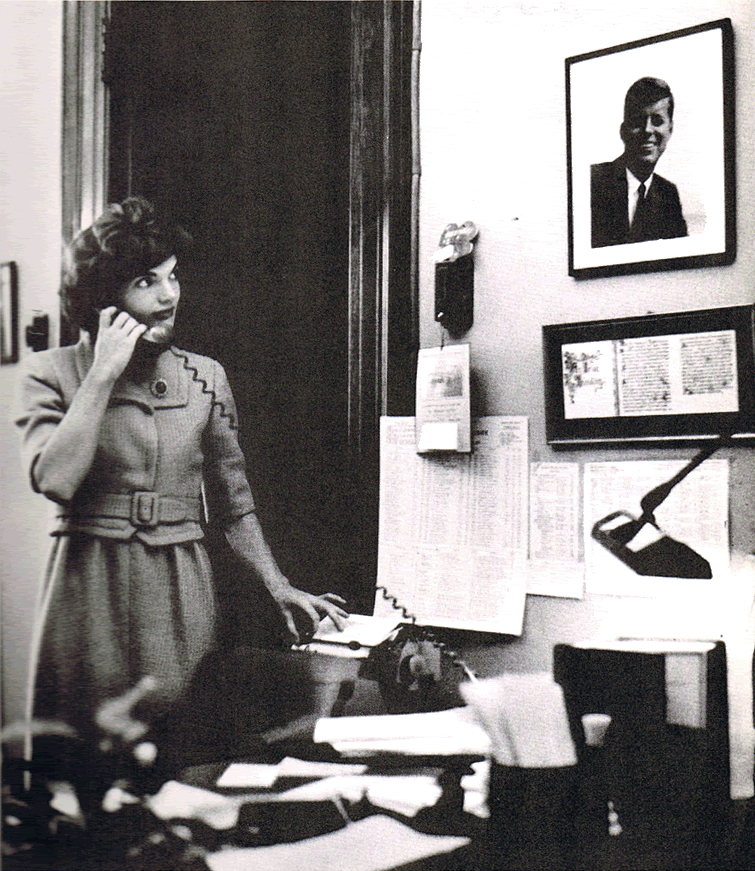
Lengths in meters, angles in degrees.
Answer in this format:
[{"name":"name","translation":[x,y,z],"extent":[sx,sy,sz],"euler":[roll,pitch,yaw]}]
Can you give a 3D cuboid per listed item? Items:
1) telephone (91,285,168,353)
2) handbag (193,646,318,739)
[{"name":"telephone","translation":[-0.354,-0.165,1.780],"extent":[0.077,0.114,0.057],"euler":[37,-21,-27]},{"name":"handbag","translation":[-0.176,0.367,1.738],"extent":[0.172,0.125,0.034],"euler":[0,3,-4]}]
